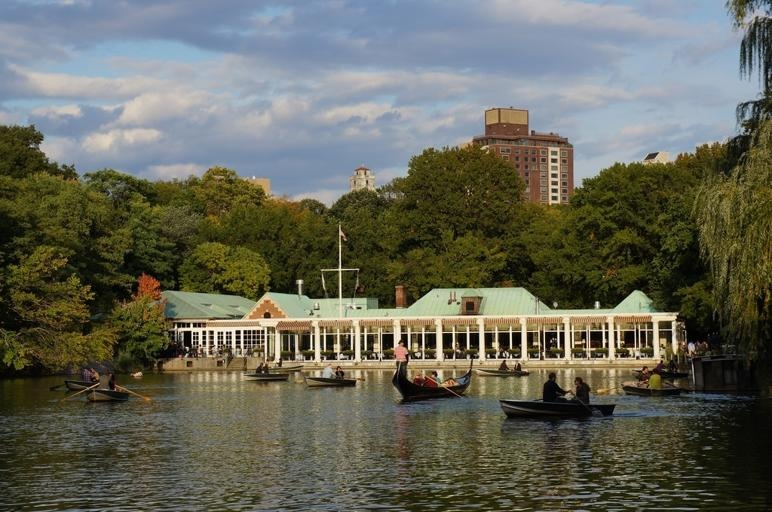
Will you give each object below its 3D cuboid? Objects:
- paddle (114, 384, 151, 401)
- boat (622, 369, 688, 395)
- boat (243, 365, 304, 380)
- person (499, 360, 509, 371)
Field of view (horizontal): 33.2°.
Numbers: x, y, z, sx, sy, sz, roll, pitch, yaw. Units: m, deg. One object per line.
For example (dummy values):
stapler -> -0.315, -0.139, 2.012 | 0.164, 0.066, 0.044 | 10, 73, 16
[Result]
paddle -> -18.676, 10.180, 96.257 | 2.241, 0.192, 0.367 | 24, 25, -19
boat -> 18.785, 9.063, 90.971 | 3.799, 1.629, 1.884 | -3, -4, 9
boat -> -9.326, 10.486, 112.597 | 4.780, 0.799, 1.633 | -3, 3, -14
person -> 10.124, 9.333, 110.139 | 0.833, 1.056, 0.691 | 0, 6, -37
